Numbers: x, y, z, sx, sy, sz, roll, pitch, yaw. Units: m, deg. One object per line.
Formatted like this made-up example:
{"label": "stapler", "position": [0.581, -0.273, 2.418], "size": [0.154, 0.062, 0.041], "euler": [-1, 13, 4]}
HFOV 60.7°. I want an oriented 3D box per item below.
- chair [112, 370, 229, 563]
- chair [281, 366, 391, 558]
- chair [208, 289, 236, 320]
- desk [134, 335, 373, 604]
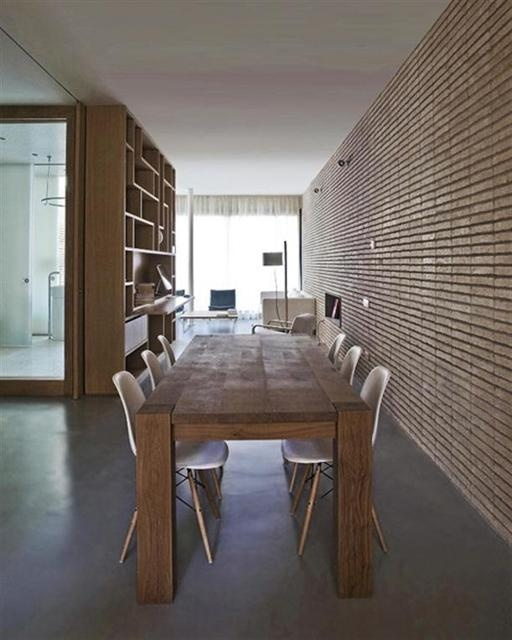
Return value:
{"label": "chair", "position": [-0.316, 0.607, 2.155], "size": [0.578, 1.153, 0.601], "euler": [-2, -5, 2]}
{"label": "chair", "position": [0.338, 0.593, 2.186], "size": [0.574, 1.140, 0.585], "euler": [1, -4, -8]}
{"label": "chair", "position": [-0.775, -0.434, 9.772], "size": [0.536, 1.106, 0.735], "euler": [0, -1, 1]}
{"label": "desk", "position": [-0.007, 0.598, 2.149], "size": [0.891, 0.700, 1.285], "euler": [0, 4, -2]}
